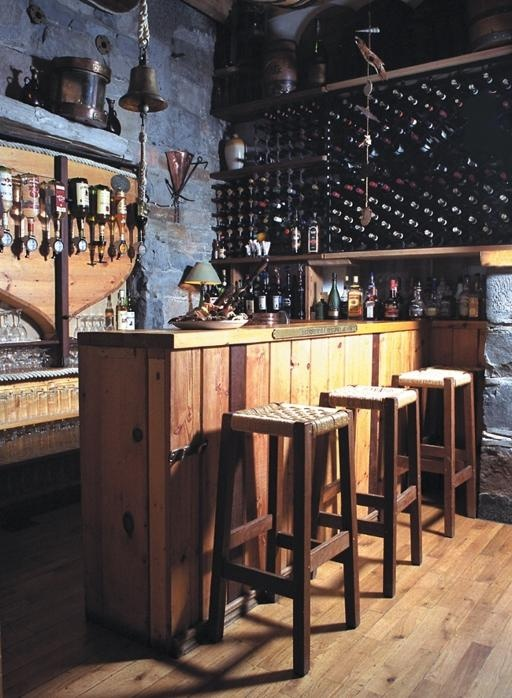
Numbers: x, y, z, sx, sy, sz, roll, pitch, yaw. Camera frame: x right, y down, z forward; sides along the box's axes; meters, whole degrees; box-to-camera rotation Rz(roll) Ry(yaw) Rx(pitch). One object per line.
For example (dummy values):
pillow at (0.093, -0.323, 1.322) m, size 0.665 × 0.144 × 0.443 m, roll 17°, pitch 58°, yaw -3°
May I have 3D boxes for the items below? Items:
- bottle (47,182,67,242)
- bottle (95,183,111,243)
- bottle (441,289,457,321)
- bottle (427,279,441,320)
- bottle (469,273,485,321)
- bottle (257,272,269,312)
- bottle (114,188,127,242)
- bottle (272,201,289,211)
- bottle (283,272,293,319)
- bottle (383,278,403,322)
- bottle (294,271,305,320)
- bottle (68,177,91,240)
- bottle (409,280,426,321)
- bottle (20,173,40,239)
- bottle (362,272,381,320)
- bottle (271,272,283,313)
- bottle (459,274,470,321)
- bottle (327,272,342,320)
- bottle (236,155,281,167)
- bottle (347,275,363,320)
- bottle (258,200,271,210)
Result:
bottle at (-1.066, -0.735, 3.296) m, size 0.096 × 0.300 × 0.127 m, roll -2°, pitch 4°, yaw -18°
bottle at (-0.908, -0.796, 3.628) m, size 0.081 × 0.328 × 0.121 m, roll -1°, pitch 4°, yaw -15°
bottle at (1.219, -0.295, 3.877) m, size 0.080 × 0.198 × 0.163 m, roll 2°, pitch 4°, yaw 29°
bottle at (1.135, -0.322, 3.908) m, size 0.088 × 0.248 × 0.174 m, roll 1°, pitch 4°, yaw 18°
bottle at (1.362, -0.320, 3.751) m, size 0.093 × 0.277 × 0.195 m, roll 1°, pitch 4°, yaw 22°
bottle at (0.056, -0.438, 4.674) m, size 0.090 × 0.301 × 0.175 m, roll 0°, pitch 4°, yaw 1°
bottle at (-0.829, -0.810, 3.750) m, size 0.061 × 0.287 × 0.104 m, roll -1°, pitch 4°, yaw -10°
bottle at (0.191, -1.086, 4.625) m, size 0.037 × 0.042 × 0.167 m, roll 15°, pitch 21°, yaw 12°
bottle at (0.244, -0.402, 4.593) m, size 0.061 × 0.342 × 0.098 m, roll -1°, pitch 4°, yaw -7°
bottle at (0.918, -0.339, 4.082) m, size 0.109 × 0.284 × 0.344 m, roll 0°, pitch 4°, yaw 12°
bottle at (0.328, -0.413, 4.511) m, size 0.033 × 0.372 × 0.169 m, roll -1°, pitch 4°, yaw -16°
bottle at (-1.011, -0.796, 3.495) m, size 0.109 × 0.327 × 0.197 m, roll -1°, pitch 4°, yaw -12°
bottle at (1.049, -0.318, 3.968) m, size 0.098 × 0.242 × 0.302 m, roll 1°, pitch 4°, yaw 15°
bottle at (-1.180, -0.738, 3.208) m, size 0.093 × 0.303 × 0.203 m, roll -2°, pitch 4°, yaw -20°
bottle at (0.797, -0.364, 4.176) m, size 0.116 × 0.324 × 0.402 m, roll 0°, pitch 4°, yaw 11°
bottle at (0.155, -0.444, 4.610) m, size 0.084 × 0.321 × 0.190 m, roll 0°, pitch 4°, yaw 2°
bottle at (1.295, -0.316, 3.796) m, size 0.067 × 0.248 × 0.225 m, roll 1°, pitch 4°, yaw 18°
bottle at (0.577, -0.385, 4.475) m, size 0.102 × 0.328 × 0.320 m, roll 0°, pitch 4°, yaw 7°
bottle at (0.023, -1.450, 4.714) m, size 0.172 × 0.050 × 0.165 m, roll 2°, pitch 5°, yaw 0°
bottle at (0.700, -0.354, 4.263) m, size 0.099 × 0.296 × 0.265 m, roll 0°, pitch 4°, yaw 11°
bottle at (0.066, -1.111, 4.718) m, size 0.058 × 0.054 × 0.062 m, roll 2°, pitch 18°, yaw -22°
